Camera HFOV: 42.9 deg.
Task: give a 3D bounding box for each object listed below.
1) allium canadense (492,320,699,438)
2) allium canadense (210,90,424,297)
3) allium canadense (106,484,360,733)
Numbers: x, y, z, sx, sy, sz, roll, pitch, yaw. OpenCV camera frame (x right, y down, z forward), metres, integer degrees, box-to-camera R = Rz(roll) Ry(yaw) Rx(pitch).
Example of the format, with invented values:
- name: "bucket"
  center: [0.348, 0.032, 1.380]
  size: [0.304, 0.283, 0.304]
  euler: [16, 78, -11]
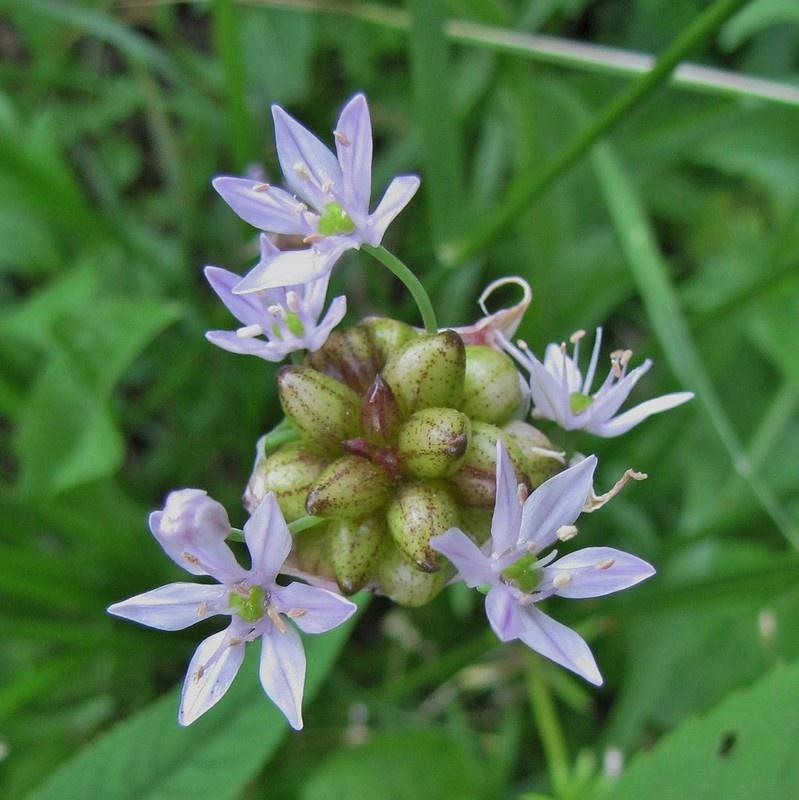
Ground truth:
- name: "allium canadense"
  center: [0.206, -0.003, 1.125]
  size: [0.205, 0.185, 0.109]
  euler: [16, 81, 12]
- name: "allium canadense"
  center: [-0.114, -0.200, 1.082]
  size: [0.087, 0.198, 0.195]
  euler: [33, 78, 1]
- name: "allium canadense"
  center: [-0.156, 0.204, 0.946]
  size: [0.192, 0.161, 0.230]
  euler: [-40, 78, -11]
